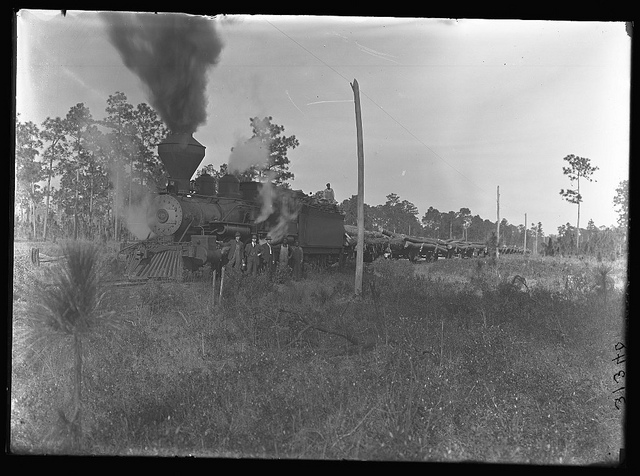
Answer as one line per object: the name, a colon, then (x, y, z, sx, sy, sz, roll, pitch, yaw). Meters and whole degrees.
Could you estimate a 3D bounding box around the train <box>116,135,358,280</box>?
train: (-1.265, -0.626, 12.131, 2.020, 2.724, 6.056, 7, 5, 43)

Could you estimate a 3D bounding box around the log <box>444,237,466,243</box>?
log: (2.289, 0.020, 9.272, 0.333, 0.097, 0.141, 5, 0, 30)

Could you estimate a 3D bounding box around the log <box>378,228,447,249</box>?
log: (1.625, -0.006, 9.436, 0.992, 0.152, 0.123, 13, -2, -16)

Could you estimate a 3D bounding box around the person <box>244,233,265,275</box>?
person: (-1.254, 0.365, 10.586, 0.370, 0.923, 0.237, 3, 26, -5)

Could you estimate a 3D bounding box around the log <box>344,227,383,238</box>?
log: (0.793, -0.106, 10.359, 0.293, 0.184, 1.801, 5, 0, -12)

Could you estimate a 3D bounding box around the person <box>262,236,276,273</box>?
person: (-0.991, 0.327, 10.765, 0.300, 0.773, 0.201, -12, 31, -24)
